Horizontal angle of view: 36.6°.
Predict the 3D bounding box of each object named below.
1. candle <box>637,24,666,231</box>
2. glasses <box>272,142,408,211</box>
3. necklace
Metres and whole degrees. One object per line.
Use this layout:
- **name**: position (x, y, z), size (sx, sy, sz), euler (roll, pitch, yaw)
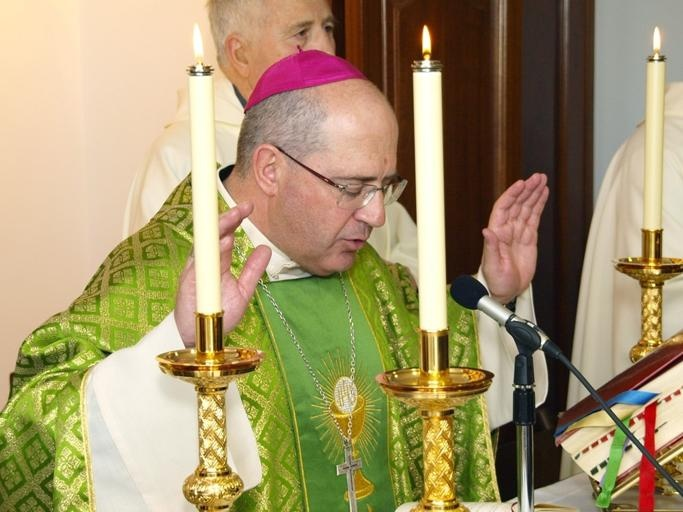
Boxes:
- **candle**: position (0.973, -0.400, 3.211), size (0.096, 0.626, 0.243), euler (-4, 5, 19)
- **glasses**: position (0.003, -0.277, 3.460), size (0.424, 0.253, 0.179), euler (-9, 5, -3)
- **necklace**: position (-0.061, 0.420, 3.666), size (0.248, 0.965, 0.099), euler (-6, -18, -19)
